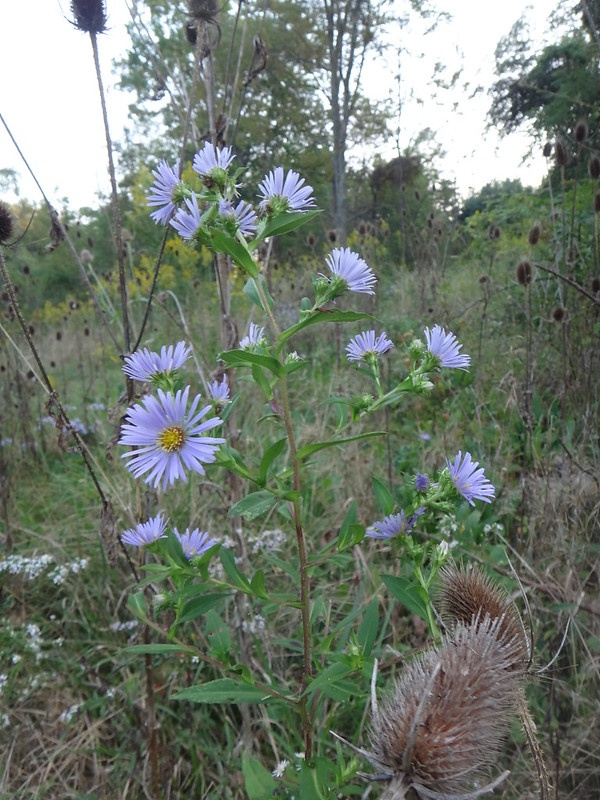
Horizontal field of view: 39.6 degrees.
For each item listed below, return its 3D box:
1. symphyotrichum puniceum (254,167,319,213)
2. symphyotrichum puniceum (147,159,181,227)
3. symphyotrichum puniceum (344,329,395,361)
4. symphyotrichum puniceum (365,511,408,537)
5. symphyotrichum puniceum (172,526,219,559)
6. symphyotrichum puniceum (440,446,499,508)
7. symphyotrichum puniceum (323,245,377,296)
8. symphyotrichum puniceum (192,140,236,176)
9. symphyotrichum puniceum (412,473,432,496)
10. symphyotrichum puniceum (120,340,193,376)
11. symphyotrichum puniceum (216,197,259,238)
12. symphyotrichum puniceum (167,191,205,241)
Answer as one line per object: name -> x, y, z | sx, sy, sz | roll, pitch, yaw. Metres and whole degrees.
symphyotrichum puniceum -> -0.046, -0.612, 2.435 | 0.156, 0.132, 0.257 | -6, 15, -1
symphyotrichum puniceum -> -0.401, -0.610, 2.440 | 0.060, 0.165, 0.166 | -5, -4, -28
symphyotrichum puniceum -> 0.221, -0.170, 2.684 | 0.142, 0.117, 0.251 | -5, 15, 2
symphyotrichum puniceum -> 0.271, 0.400, 2.531 | 0.099, 0.046, 0.100 | -35, 6, -15
symphyotrichum puniceum -> -0.319, 0.453, 2.554 | 0.132, 0.064, 0.130 | 22, 36, -22
symphyotrichum puniceum -> 0.480, 0.227, 2.499 | 0.174, 0.073, 0.155 | -3, 12, -12
symphyotrichum puniceum -> 0.149, -0.376, 2.466 | 0.131, 0.148, 0.196 | -5, 15, 4
symphyotrichum puniceum -> -0.246, -0.691, 2.398 | 0.109, 0.090, 0.176 | 0, 16, 19
symphyotrichum puniceum -> 0.381, 0.250, 2.548 | 0.042, 0.063, 0.094 | 4, 17, 32
symphyotrichum puniceum -> -0.405, -0.087, 2.399 | 0.133, 0.064, 0.132 | -17, 34, 9
symphyotrichum puniceum -> -0.180, -0.507, 2.389 | 0.108, 0.121, 0.121 | 1, -18, -29
symphyotrichum puniceum -> -0.320, -0.503, 2.348 | 0.048, 0.133, 0.103 | 31, 60, 22
